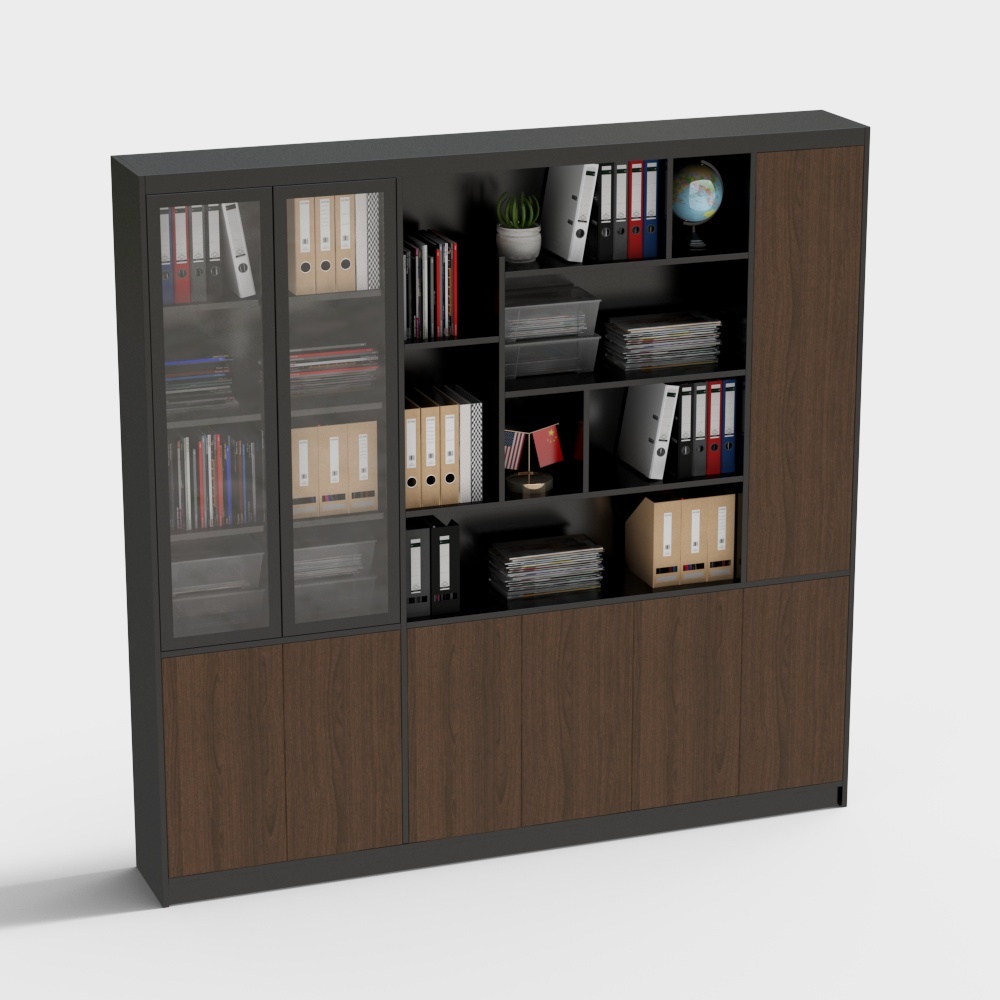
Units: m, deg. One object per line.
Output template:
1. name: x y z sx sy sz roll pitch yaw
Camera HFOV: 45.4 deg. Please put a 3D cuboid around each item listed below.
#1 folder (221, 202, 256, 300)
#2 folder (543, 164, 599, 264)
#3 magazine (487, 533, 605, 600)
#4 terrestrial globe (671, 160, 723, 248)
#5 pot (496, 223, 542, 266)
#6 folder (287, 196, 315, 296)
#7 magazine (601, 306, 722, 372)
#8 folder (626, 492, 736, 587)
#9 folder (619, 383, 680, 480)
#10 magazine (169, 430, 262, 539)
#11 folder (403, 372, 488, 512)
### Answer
1. folder: -0.687 -0.654 3.144 0.081 0.240 0.025 -4 12 -21
2. folder: 0.203 -0.851 3.549 0.055 0.253 0.260 1 42 -14
3. magazine: 0.136 0.224 3.851 0.245 0.126 0.201 -5 16 -16
4. terrestrial globe: 0.610 -0.928 3.721 0.156 0.279 0.186 0 43 3
5. pot: 0.055 -0.758 3.562 0.108 0.091 0.117 0 18 0
6. folder: -0.532 -0.674 3.202 0.071 0.253 0.032 -2 11 -12
7. magazine: 0.510 -0.501 3.767 0.242 0.093 0.211 -7 20 -20
8. folder: 0.596 0.100 3.993 0.277 0.315 0.287 -4 13 -17
9. folder: 0.467 -0.230 3.821 0.061 0.259 0.239 3 14 -25
10. magazine: -0.793 -0.057 3.296 0.241 0.289 0.023 -5 12 -24
11. folder: -0.185 -0.159 3.592 0.261 0.329 0.225 -4 13 -18
